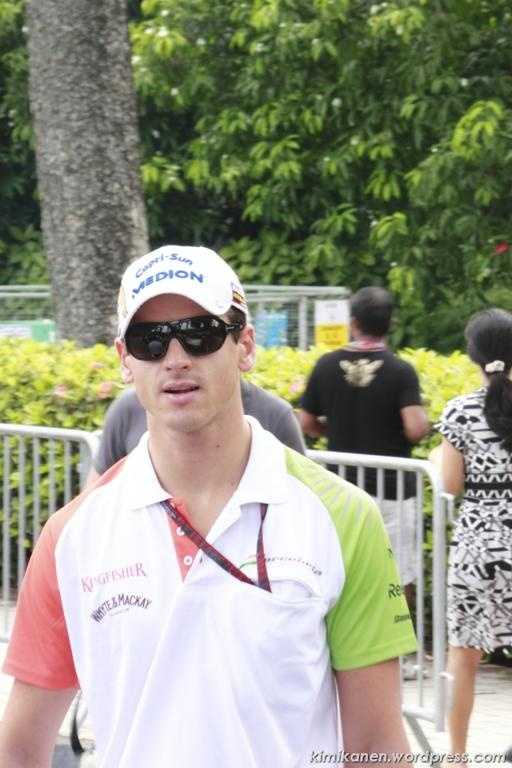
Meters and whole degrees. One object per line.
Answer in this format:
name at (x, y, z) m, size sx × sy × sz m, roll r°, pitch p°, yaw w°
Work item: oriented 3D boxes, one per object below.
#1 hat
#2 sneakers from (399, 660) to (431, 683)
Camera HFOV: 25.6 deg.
hat at (-0.141, -0.199, 2.204) m, size 0.196 × 0.140 × 0.272 m, roll 6°, pitch -4°, yaw 0°
sneakers at (0.614, 1.100, 4.360) m, size 0.150 × 0.045 × 0.092 m, roll 1°, pitch 0°, yaw 36°
